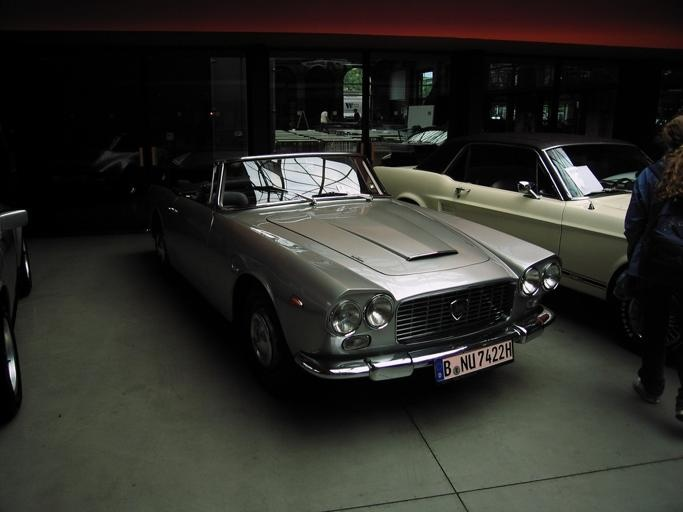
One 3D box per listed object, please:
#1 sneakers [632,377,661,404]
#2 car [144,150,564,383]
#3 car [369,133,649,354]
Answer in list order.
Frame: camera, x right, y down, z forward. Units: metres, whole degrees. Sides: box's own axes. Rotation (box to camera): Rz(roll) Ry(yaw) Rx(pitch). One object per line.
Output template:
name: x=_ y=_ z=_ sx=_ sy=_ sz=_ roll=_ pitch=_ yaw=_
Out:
sneakers: x=2.245 y=1.004 z=3.062 sx=0.096 sy=0.106 sz=0.251 roll=-5 pitch=18 yaw=6
car: x=0.014 y=-0.044 z=3.515 sx=1.958 sy=1.611 sz=2.889 roll=-16 pitch=21 yaw=-40
car: x=2.106 y=-0.631 z=5.221 sx=1.790 sy=1.329 sz=4.227 roll=-7 pitch=16 yaw=-32
